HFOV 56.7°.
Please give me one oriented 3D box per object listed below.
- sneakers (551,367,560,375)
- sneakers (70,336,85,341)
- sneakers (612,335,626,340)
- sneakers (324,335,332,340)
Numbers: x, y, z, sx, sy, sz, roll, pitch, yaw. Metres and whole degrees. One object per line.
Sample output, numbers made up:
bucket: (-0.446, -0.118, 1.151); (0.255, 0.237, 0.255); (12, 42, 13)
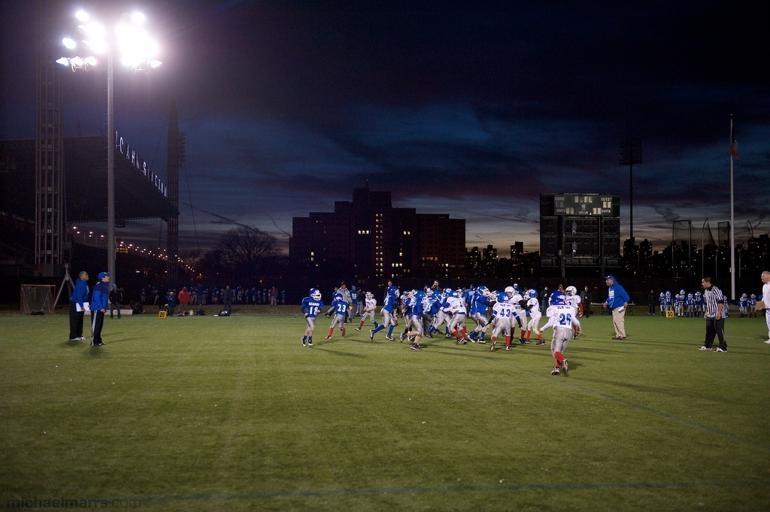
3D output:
sneakers: (4.889, 3.243, 20.356); (0.270, 0.218, 0.331); (2, 10, 13)
sneakers: (-11.552, 3.083, 26.714); (0.321, 0.119, 0.170); (-1, 0, -10)
sneakers: (9.537, 3.315, 29.111); (0.234, 0.252, 0.640); (2, -2, -8)
sneakers: (-2.242, 3.242, 28.416); (0.143, 0.145, 0.365); (6, -6, -28)
